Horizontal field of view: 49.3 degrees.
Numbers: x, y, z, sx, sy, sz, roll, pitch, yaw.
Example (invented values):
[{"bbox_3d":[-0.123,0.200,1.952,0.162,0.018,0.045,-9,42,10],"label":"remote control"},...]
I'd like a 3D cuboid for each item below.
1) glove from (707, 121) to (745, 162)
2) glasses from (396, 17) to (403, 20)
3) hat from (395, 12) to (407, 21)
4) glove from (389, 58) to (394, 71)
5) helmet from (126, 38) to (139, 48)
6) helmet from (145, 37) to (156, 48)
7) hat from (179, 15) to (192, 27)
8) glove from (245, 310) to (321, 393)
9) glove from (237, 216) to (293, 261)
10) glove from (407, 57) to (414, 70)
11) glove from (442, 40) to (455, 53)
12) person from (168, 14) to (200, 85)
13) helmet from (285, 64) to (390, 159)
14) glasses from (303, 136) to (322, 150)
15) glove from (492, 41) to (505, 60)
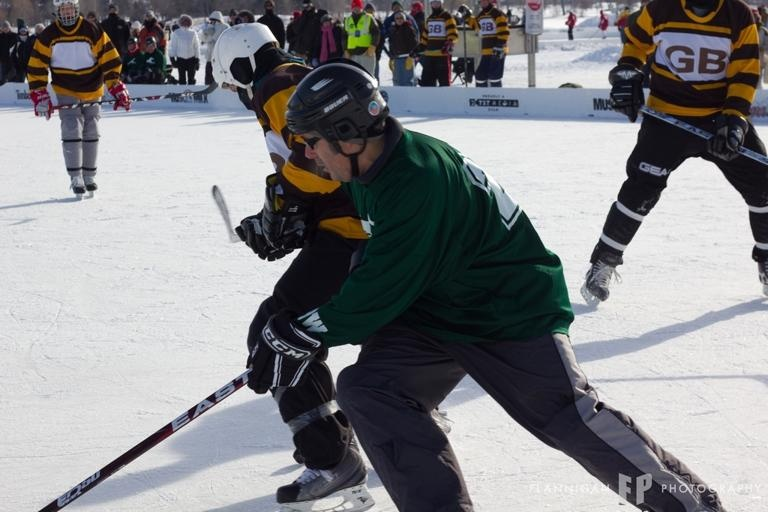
[{"bbox_3d":[1.859,-0.637,4.517,0.174,0.222,0.100,30,-6,30],"label":"glove"},{"bbox_3d":[0.224,-3.536,12.436,0.112,0.056,0.060,-3,18,-4],"label":"glasses"},{"bbox_3d":[0.232,-3.577,12.453,0.124,0.119,0.154,-2,-13,-2],"label":"hat"},{"bbox_3d":[0.114,-3.077,13.426,0.141,0.185,0.070,6,12,23],"label":"glove"},{"bbox_3d":[-4.446,-3.760,14.794,0.188,0.212,0.225,-11,12,-24],"label":"helmet"},{"bbox_3d":[-4.217,-3.825,14.986,0.189,0.166,0.209,-6,25,4],"label":"helmet"},{"bbox_3d":[-3.705,-4.362,15.523,0.269,0.302,0.323,2,17,-9],"label":"hat"},{"bbox_3d":[-0.369,0.363,3.109,0.197,0.291,0.210,7,41,-34],"label":"glove"},{"bbox_3d":[-0.516,-0.081,3.756,0.219,0.093,0.209,-26,63,-7],"label":"glove"},{"bbox_3d":[0.387,-2.950,12.806,0.095,0.146,0.153,2,15,0],"label":"glove"},{"bbox_3d":[0.961,-3.092,12.377,0.122,0.190,0.314,0,18,6],"label":"glove"},{"bbox_3d":[-3.765,-3.870,15.685,0.492,1.232,0.469,-6,19,-13],"label":"person"},{"bbox_3d":[-0.163,-0.521,2.974,0.346,0.282,0.257,3,2,-2],"label":"helmet"},{"bbox_3d":[-0.266,-0.415,3.051,0.044,0.024,0.054,11,-11,-10],"label":"glasses"},{"bbox_3d":[1.637,-2.900,11.904,0.135,0.170,0.102,3,1,2],"label":"glove"}]
